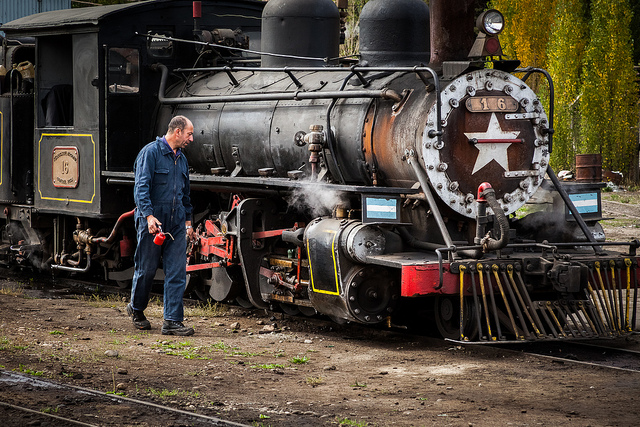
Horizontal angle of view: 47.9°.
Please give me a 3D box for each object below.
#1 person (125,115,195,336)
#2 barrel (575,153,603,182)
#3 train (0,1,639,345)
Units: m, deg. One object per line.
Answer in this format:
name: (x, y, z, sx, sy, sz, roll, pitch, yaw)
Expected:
person: (-2.011, 0.137, 9.125, 0.811, 2.731, 0.799, 0, 5, -14)
barrel: (4.077, -0.702, 10.937, 0.481, 0.442, 0.452, -1, 1, -23)
train: (-0.607, -0.969, 10.303, 9.445, 4.804, 2.790, 3, 5, 28)
